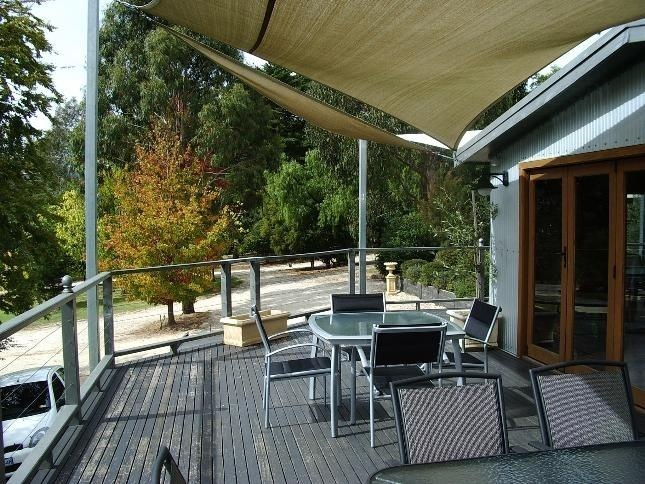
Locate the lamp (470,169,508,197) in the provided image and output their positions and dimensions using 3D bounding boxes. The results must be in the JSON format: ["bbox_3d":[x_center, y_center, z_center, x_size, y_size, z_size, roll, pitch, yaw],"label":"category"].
[{"bbox_3d":[2.051,-0.728,6.224,0.378,0.281,0.274,0,-1,-19],"label":"lamp"}]
